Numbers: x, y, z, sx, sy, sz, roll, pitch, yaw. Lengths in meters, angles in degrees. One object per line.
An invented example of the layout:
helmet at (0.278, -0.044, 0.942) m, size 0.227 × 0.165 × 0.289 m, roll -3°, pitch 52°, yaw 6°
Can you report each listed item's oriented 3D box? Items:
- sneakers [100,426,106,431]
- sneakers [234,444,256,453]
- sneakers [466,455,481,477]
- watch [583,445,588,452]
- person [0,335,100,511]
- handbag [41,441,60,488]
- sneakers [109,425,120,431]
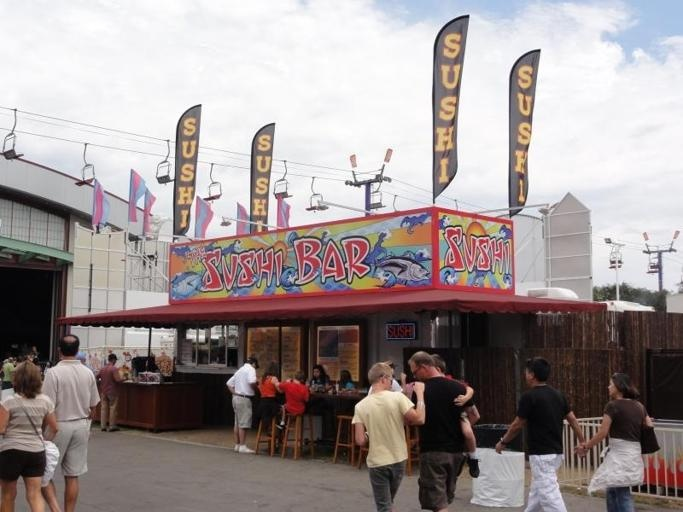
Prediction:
sneakers at (-5.928, 4.271, 18.793) m, size 0.113 × 0.129 × 0.112 m, roll 1°, pitch 0°, yaw -2°
sneakers at (-2.031, 3.919, 15.546) m, size 0.481 × 0.195 × 0.167 m, roll -1°, pitch -4°, yaw 14°
sneakers at (1.584, 2.513, 9.071) m, size 0.061 × 0.261 × 0.156 m, roll 6°, pitch -10°, yaw -44°
watch at (3.112, 2.465, 9.690) m, size 0.098 × 0.047 × 0.117 m, roll -1°, pitch -2°, yaw 17°
person at (-3.606, 2.188, 10.006) m, size 0.748 × 2.293 × 0.413 m, roll 7°, pitch -11°, yaw -33°
handbag at (-3.682, 2.609, 9.546) m, size 0.181 × 0.588 × 0.500 m, roll 4°, pitch -10°, yaw -21°
sneakers at (-5.633, 4.251, 18.722) m, size 0.288 × 0.127 × 0.269 m, roll 10°, pitch -14°, yaw -43°
